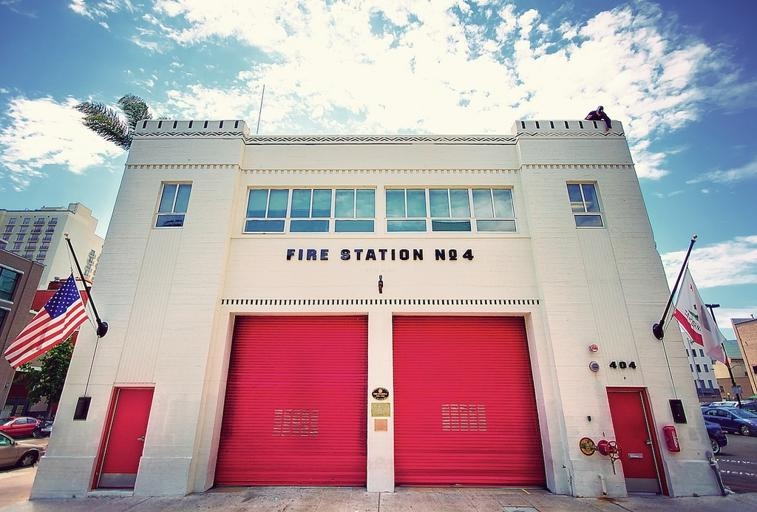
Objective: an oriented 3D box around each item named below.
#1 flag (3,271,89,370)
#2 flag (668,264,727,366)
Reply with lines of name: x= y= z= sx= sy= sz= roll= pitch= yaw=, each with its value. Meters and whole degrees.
flag: x=-11.883 y=2.345 z=15.215 sx=2.187 sy=3.191 sz=1.060 roll=3 pitch=-13 yaw=-16
flag: x=11.840 y=2.138 z=15.600 sx=1.414 sy=3.349 sz=1.021 roll=9 pitch=-15 yaw=-38
